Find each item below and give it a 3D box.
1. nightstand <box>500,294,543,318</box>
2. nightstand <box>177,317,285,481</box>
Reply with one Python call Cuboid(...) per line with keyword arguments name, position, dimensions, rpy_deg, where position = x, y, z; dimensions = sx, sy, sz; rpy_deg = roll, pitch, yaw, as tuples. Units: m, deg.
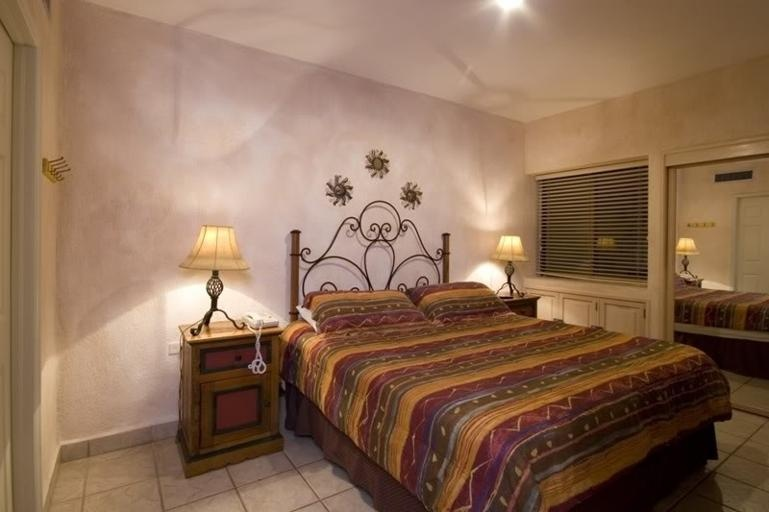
Cuboid(name="nightstand", position=(1.494, 0.538, 5.771), dimensions=(0.336, 0.339, 0.246), rpy_deg=(-4, 5, -38))
Cuboid(name="nightstand", position=(-1.295, 1.057, 4.373), dimensions=(0.850, 1.061, 0.825), rpy_deg=(-1, 13, -22))
